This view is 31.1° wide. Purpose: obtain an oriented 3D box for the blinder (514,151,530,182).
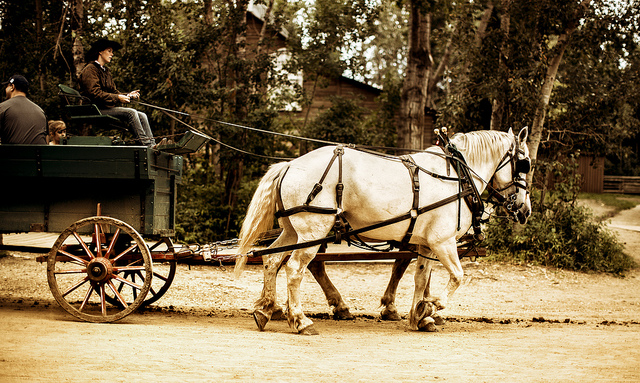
[{"bbox_3d":[5.151,-0.620,29.202,0.358,0.625,0.213,4,-1,13],"label":"blinder"}]
